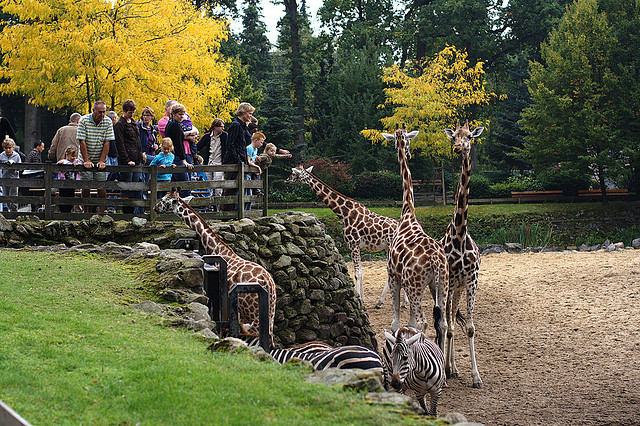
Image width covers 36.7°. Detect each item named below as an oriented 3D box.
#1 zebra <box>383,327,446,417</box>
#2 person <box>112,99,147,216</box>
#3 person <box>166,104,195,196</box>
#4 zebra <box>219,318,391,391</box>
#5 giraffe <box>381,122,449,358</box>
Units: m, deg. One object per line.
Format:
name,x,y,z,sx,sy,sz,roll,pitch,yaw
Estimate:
zebra,2.790,4.688,28.346,1.697,2.625,0.531,1,1,-29
person,-6.284,-1.927,32.801,1.023,3.905,1.047,-17,27,-42
person,-4.562,-1.835,32.999,1.148,3.804,1.256,4,21,8
zebra,-0.592,4.218,28.308,4.004,2.727,0.969,-1,-26,7
giraffe,2.978,0.807,30.620,1.529,7.355,2.319,1,1,-27
